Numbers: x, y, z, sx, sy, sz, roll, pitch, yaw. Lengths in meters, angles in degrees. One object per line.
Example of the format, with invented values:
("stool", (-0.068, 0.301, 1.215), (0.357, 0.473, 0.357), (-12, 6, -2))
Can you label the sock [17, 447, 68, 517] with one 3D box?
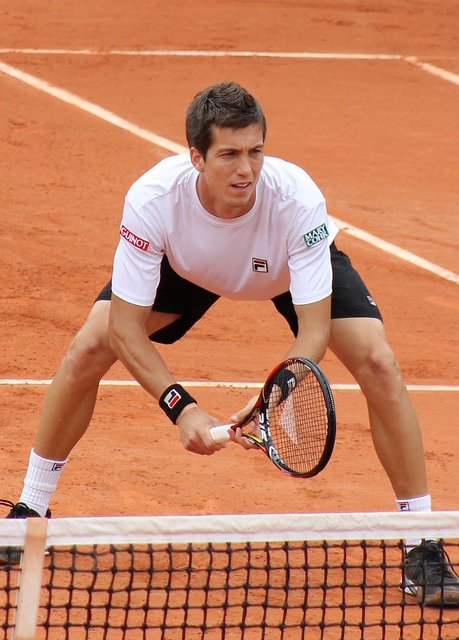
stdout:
("sock", (-0.723, 0.633, 2.835), (0.132, 0.292, 0.127), (11, 25, 12))

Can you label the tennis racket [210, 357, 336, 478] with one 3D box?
("tennis racket", (0.143, 0.392, 2.820), (0.083, 0.370, 0.752), (0, -10, -45))

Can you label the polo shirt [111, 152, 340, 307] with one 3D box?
("polo shirt", (0.034, -0.300, 2.628), (0.832, 0.428, 0.562), (3, 23, 24))
